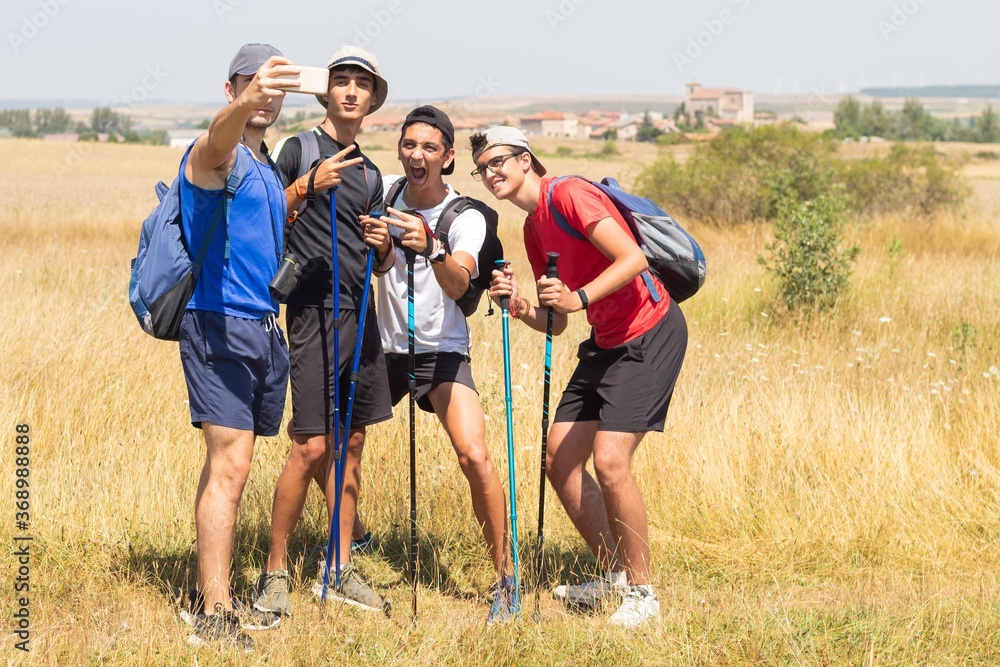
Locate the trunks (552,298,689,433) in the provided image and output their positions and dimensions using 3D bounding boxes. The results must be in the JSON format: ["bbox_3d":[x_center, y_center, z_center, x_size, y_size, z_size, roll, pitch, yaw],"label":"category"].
[{"bbox_3d":[1.043,0.207,8.733,0.691,1.292,0.959,14,-13,-33],"label":"trunks"}]

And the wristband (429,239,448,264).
[{"bbox_3d":[-0.475,-0.650,8.246,0.150,0.154,0.124,-15,20,-5],"label":"wristband"}]

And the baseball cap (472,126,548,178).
[{"bbox_3d":[0.084,-1.475,8.436,0.509,0.337,0.408,0,1,22],"label":"baseball cap"}]

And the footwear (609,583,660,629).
[{"bbox_3d":[1.066,2.088,8.264,0.387,0.256,0.302,3,13,1],"label":"footwear"}]

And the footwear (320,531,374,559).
[{"bbox_3d":[-1.300,1.842,9.448,0.539,0.274,0.185,4,-6,-38],"label":"footwear"}]

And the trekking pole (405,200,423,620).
[{"bbox_3d":[-0.690,0.771,8.574,0.155,2.926,1.114,1,12,-4],"label":"trekking pole"}]

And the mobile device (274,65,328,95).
[{"bbox_3d":[-1.424,-1.869,7.921,0.283,0.206,0.523,3,14,1],"label":"mobile device"}]

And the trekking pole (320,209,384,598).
[{"bbox_3d":[-1.210,0.625,8.577,0.474,3.317,0.286,3,11,-4],"label":"trekking pole"}]

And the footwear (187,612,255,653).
[{"bbox_3d":[-2.076,2.188,8.017,0.515,0.260,0.224,3,-1,11],"label":"footwear"}]

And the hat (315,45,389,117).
[{"bbox_3d":[-1.136,-2.044,8.662,0.427,0.516,0.482,2,13,-3],"label":"hat"}]

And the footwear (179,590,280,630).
[{"bbox_3d":[-2.070,2.112,8.217,0.515,0.237,0.206,8,25,0],"label":"footwear"}]

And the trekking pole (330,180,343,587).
[{"bbox_3d":[-1.309,0.465,8.464,0.153,3.170,0.680,0,12,-8],"label":"trekking pole"}]

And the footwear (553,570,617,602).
[{"bbox_3d":[0.777,2.053,8.799,0.622,0.319,0.228,0,-5,23],"label":"footwear"}]

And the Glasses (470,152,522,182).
[{"bbox_3d":[-0.035,-1.316,8.297,0.260,0.079,0.274,-23,18,51],"label":"Glasses"}]
